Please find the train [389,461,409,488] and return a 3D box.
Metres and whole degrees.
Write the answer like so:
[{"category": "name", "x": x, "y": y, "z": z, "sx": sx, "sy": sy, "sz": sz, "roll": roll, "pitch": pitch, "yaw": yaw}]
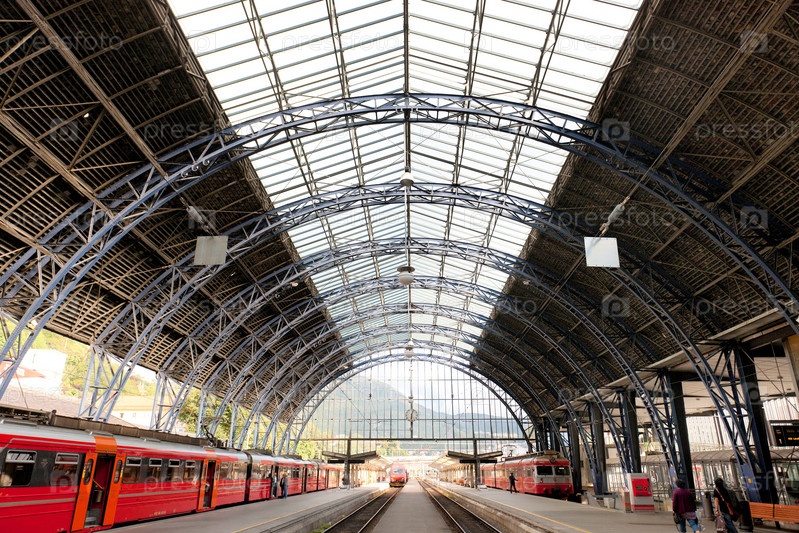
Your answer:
[{"category": "train", "x": -0.378, "y": 31.652, "z": 74.301, "sx": 2.460, "sy": 3.323, "sz": 7.137, "roll": -1, "pitch": -39, "yaw": 1}]
